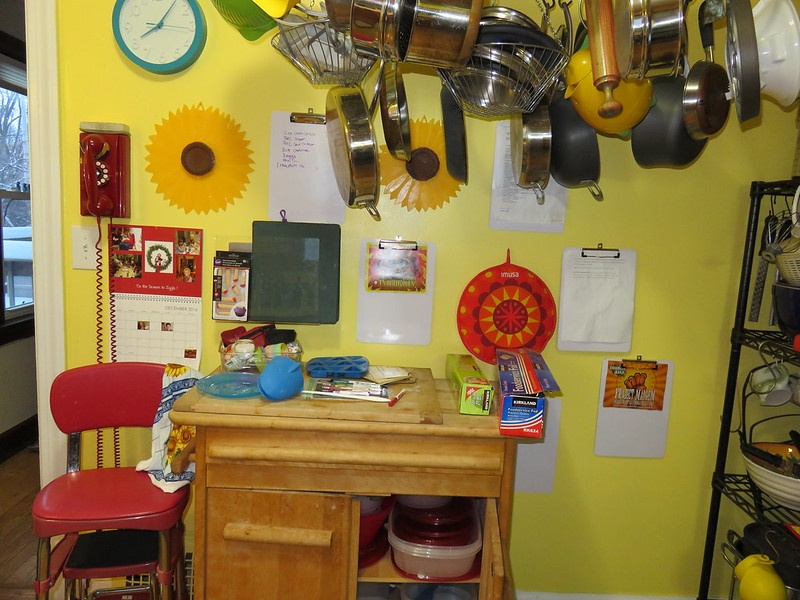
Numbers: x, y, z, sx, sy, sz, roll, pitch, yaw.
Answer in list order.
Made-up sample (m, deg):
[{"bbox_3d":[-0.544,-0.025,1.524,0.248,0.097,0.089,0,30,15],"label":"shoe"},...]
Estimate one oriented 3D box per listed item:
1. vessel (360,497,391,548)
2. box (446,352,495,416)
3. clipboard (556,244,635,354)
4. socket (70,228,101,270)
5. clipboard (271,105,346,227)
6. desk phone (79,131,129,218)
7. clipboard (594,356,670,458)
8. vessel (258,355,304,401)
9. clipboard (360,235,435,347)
[{"bbox_3d":[-0.078,0.775,2.392,0.144,0.114,0.152,2,-3,6],"label":"vessel"},{"bbox_3d":[0.240,0.291,2.298,0.117,0.117,0.348,-7,15,0],"label":"box"},{"bbox_3d":[0.746,-0.025,2.599,0.354,0.530,0.081,1,9,0],"label":"clipboard"},{"bbox_3d":[-1.195,-0.188,2.574,0.110,0.204,0.022,2,38,-23],"label":"socket"},{"bbox_3d":[-0.342,-0.516,2.490,0.402,0.575,0.059,0,4,-2],"label":"clipboard"},{"bbox_3d":[-1.078,-0.472,2.483,0.169,0.341,0.128,-2,6,-29],"label":"desk phone"},{"bbox_3d":[0.902,0.400,2.647,0.334,0.504,0.025,3,8,-2],"label":"clipboard"},{"bbox_3d":[-0.393,0.261,2.286,0.111,0.130,0.151,16,32,33],"label":"vessel"},{"bbox_3d":[-0.012,-0.031,2.582,0.300,0.422,0.010,1,17,-4],"label":"clipboard"}]
